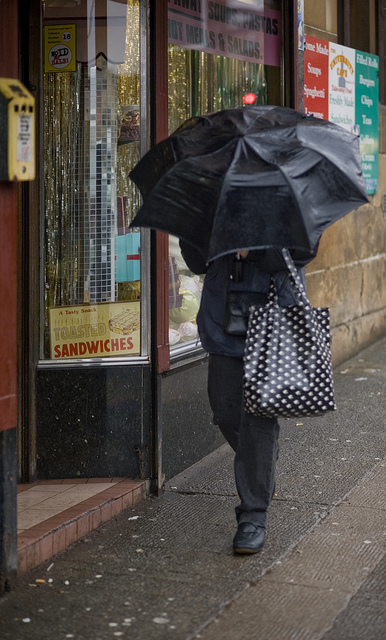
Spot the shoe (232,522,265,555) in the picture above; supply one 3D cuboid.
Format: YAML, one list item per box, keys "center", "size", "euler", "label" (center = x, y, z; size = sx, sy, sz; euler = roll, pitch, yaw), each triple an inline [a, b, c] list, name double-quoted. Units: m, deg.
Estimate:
- center: [0.240, 0.911, 2.897]
  size: [0.150, 0.128, 0.136]
  euler: [-1, 2, -6]
  label: "shoe"

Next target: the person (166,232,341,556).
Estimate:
- center: [0.313, 0.316, 2.933]
  size: [0.536, 1.331, 0.703]
  euler: [-1, 1, -19]
  label: "person"

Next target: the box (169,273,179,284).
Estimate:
- center: [-0.117, -0.234, 4.038]
  size: [0.038, 0.051, 0.063]
  euler: [3, -6, 1]
  label: "box"

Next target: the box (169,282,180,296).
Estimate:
- center: [-0.114, -0.174, 4.080]
  size: [0.063, 0.071, 0.095]
  euler: [1, 5, 20]
  label: "box"

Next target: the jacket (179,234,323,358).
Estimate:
- center: [0.223, -0.098, 2.961]
  size: [0.706, 0.747, 0.349]
  euler: [1, 4, 16]
  label: "jacket"
